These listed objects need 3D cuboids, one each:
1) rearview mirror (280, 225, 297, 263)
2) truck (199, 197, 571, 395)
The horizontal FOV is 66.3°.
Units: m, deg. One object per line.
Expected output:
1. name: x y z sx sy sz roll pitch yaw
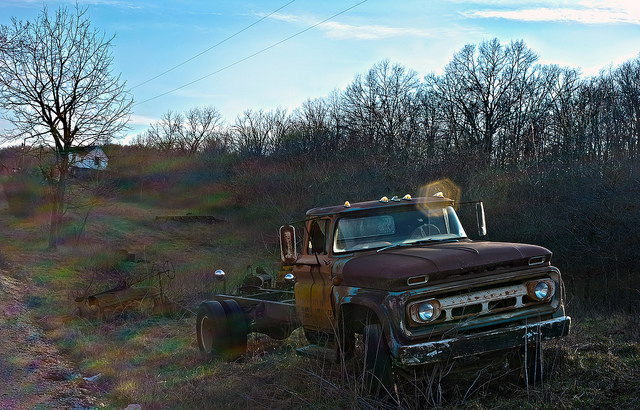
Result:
1. rearview mirror: -0.604 0.677 8.582 0.298 0.691 0.358 -7 6 0
2. truck: 0.917 1.438 9.341 3.750 2.507 5.620 0 -3 -25
